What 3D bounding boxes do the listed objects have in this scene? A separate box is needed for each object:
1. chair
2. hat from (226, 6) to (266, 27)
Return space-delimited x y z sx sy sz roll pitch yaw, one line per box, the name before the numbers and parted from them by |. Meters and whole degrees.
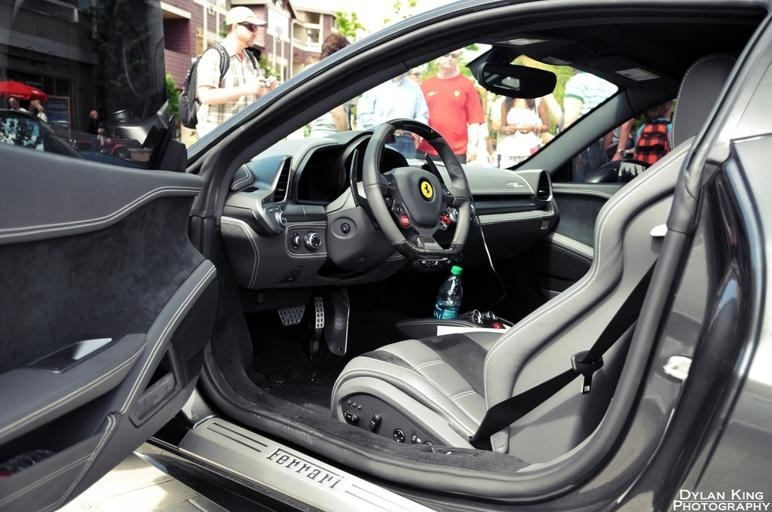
chair | 0.479 0.034 1.928 1.107 1.278 0.907 13 3 37
hat | -0.834 -1.409 3.246 0.200 0.087 0.131 -1 14 -10
